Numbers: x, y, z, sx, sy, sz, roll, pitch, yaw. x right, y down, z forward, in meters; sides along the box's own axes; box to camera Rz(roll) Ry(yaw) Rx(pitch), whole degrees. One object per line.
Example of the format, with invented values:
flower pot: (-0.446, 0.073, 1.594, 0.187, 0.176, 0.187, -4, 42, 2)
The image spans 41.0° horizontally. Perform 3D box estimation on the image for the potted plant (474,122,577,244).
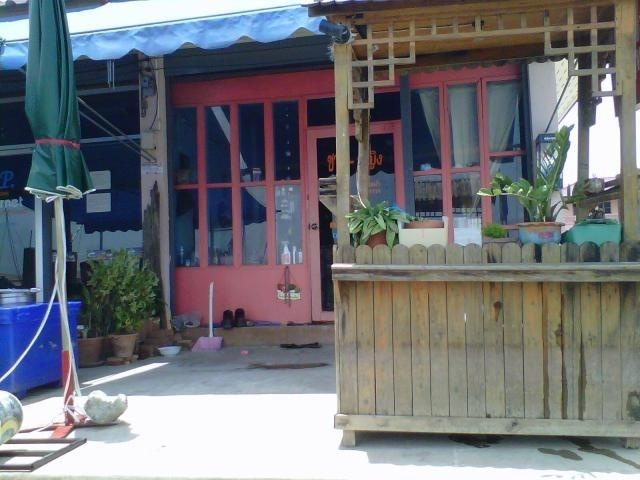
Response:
potted plant: (2.049, -0.508, 8.352, 1.088, 1.149, 0.931, 1, -7, 41)

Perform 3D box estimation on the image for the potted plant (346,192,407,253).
potted plant: (0.544, -0.165, 8.261, 0.444, 0.327, 0.454, -6, 8, -28)

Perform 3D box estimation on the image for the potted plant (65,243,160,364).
potted plant: (-2.747, 0.839, 11.413, 1.352, 1.853, 1.198, 4, -4, -32)

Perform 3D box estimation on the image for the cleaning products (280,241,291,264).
cleaning products: (-0.469, 0.191, 11.903, 0.160, 0.292, 0.101, -2, 9, 3)

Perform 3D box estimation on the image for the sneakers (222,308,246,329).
sneakers: (-1.179, 1.078, 11.700, 0.352, 0.229, 0.293, -3, 10, -6)
